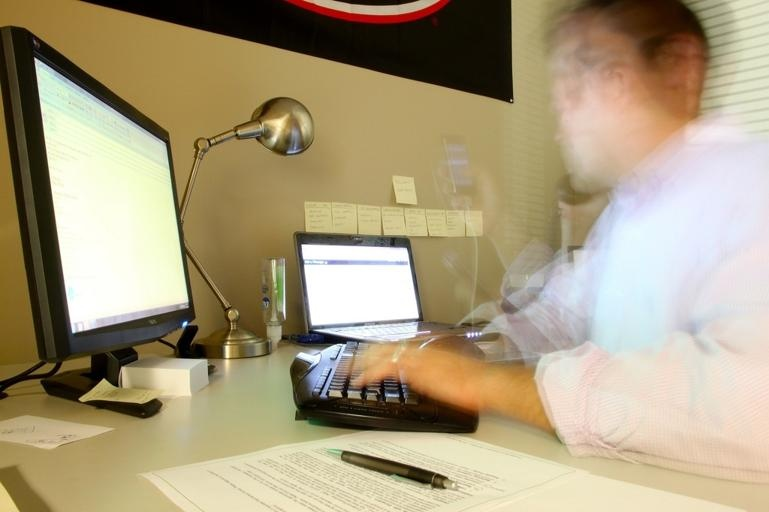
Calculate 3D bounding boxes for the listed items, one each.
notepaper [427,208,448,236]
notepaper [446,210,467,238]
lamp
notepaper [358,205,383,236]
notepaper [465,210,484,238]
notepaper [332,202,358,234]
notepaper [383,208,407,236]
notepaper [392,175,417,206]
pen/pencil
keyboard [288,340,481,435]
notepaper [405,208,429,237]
[{"bbox_3d":[0.185,-0.116,1.837,0.107,0.103,0.012,1,-10,-30],"label":"notepaper"},{"bbox_3d":[0.257,-0.114,1.879,0.107,0.116,0.013,2,-9,-30],"label":"notepaper"},{"bbox_3d":[-0.362,-0.062,1.362,0.415,0.656,0.219,-4,4,-7],"label":"lamp"},{"bbox_3d":[-0.052,-0.115,1.705,0.112,0.116,0.010,2,-11,-31],"label":"notepaper"},{"bbox_3d":[0.334,-0.117,1.934,0.107,0.114,0.016,4,-8,-34],"label":"notepaper"},{"bbox_3d":[-0.133,-0.118,1.657,0.114,0.123,0.019,1,-9,-33],"label":"notepaper"},{"bbox_3d":[0.030,-0.113,1.751,0.101,0.101,0.009,3,-12,-32],"label":"notepaper"},{"bbox_3d":[0.063,-0.223,1.779,0.116,0.112,0.009,4,-18,-39],"label":"notepaper"},{"bbox_3d":[0.015,0.282,0.674,0.159,0.020,0.012,3,9,20],"label":"pen/pencil"},{"bbox_3d":[-0.034,0.232,0.899,0.297,0.107,0.337,3,0,-9],"label":"keyboard"},{"bbox_3d":[0.109,-0.114,1.795,0.107,0.108,0.006,3,-13,-33],"label":"notepaper"}]
